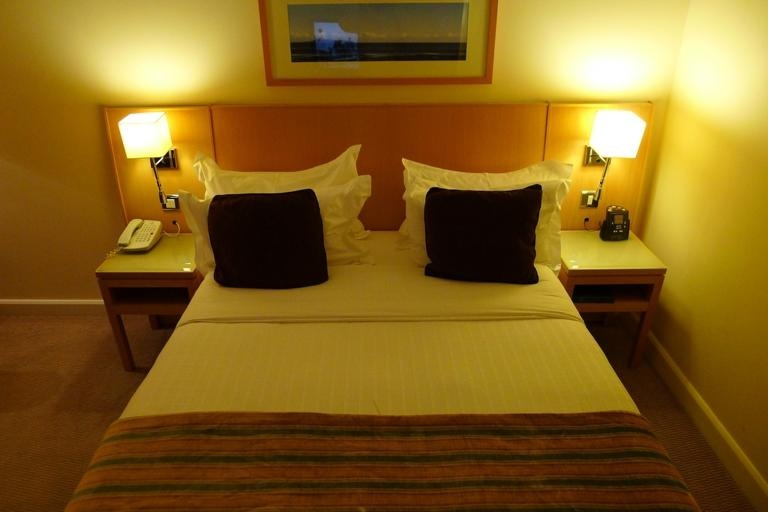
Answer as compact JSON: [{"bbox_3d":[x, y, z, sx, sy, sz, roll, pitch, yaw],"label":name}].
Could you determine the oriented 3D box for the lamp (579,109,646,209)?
[{"bbox_3d":[1.541,-0.634,3.624,0.321,0.692,0.247,8,27,17],"label":"lamp"}]

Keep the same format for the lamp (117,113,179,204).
[{"bbox_3d":[-1.597,-0.637,3.681,0.303,0.671,0.250,-6,26,-11],"label":"lamp"}]
